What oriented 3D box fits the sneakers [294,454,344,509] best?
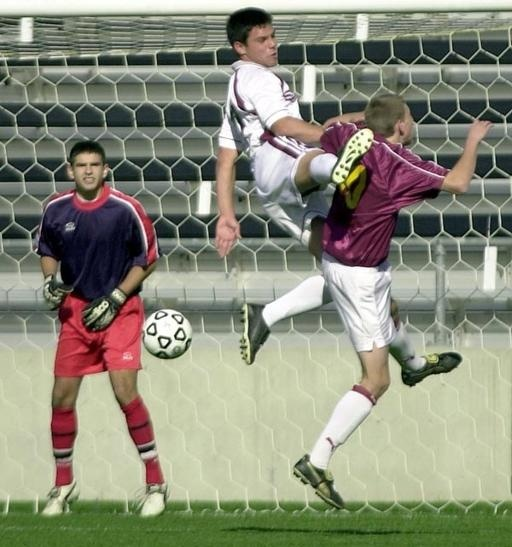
[{"bbox_3d":[0.275,0.912,5.970,0.222,0.235,0.103,1,5,3],"label":"sneakers"}]

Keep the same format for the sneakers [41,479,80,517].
[{"bbox_3d":[-0.930,1.080,6.519,0.087,0.088,0.225,-7,14,18],"label":"sneakers"}]

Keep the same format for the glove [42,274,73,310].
[{"bbox_3d":[-0.928,0.085,6.440,0.132,0.130,0.156,26,17,18],"label":"glove"}]

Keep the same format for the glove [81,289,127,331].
[{"bbox_3d":[-0.700,0.169,6.431,0.225,0.134,0.091,-41,19,-24],"label":"glove"}]

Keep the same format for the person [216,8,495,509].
[{"bbox_3d":[0.260,-0.121,6.287,1.050,2.231,0.927,2,5,13],"label":"person"}]

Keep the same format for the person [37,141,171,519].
[{"bbox_3d":[-0.722,0.255,6.489,0.623,1.772,0.437,0,5,-7],"label":"person"}]

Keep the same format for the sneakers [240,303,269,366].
[{"bbox_3d":[0.002,0.289,6.423,0.161,0.287,0.117,3,-6,9],"label":"sneakers"}]

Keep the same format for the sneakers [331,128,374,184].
[{"bbox_3d":[0.409,-0.506,5.830,0.111,0.293,0.132,39,3,2],"label":"sneakers"}]
